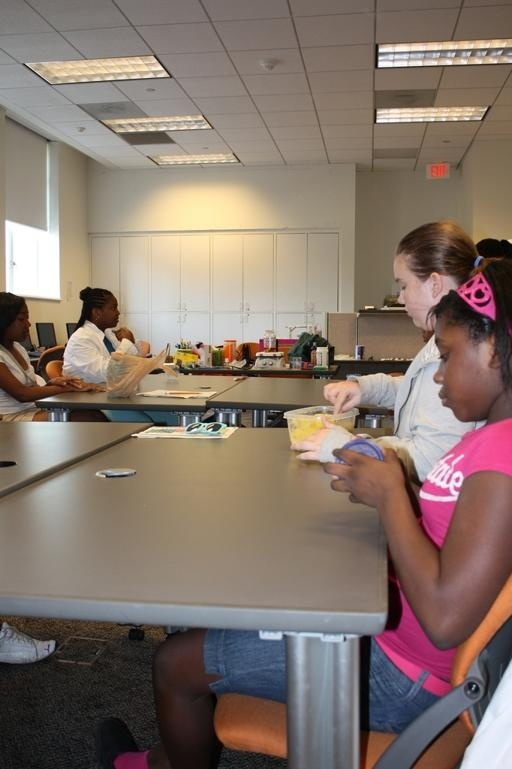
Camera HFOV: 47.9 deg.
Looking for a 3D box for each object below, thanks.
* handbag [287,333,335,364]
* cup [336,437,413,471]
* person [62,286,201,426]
[{"bbox_3d":[0.544,-0.359,5.645,0.379,0.373,0.276,0,5,-3],"label":"handbag"},{"bbox_3d":[0.188,0.111,0.913,0.076,0.038,0.101,-1,7,-38],"label":"cup"},{"bbox_3d":[-0.866,0.028,3.789,0.718,1.346,0.563,-6,7,6],"label":"person"}]
